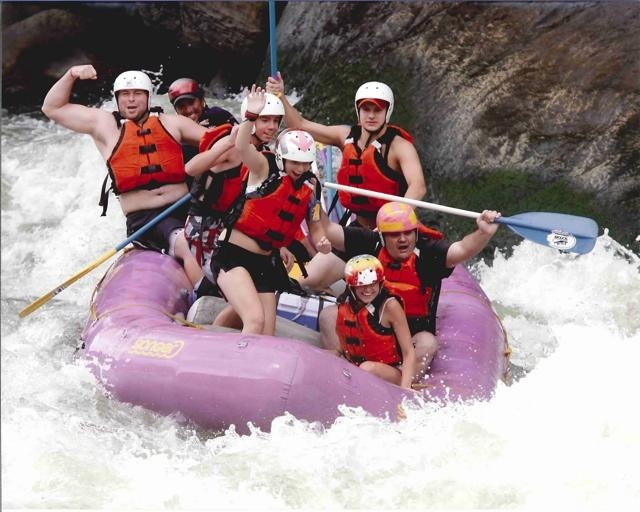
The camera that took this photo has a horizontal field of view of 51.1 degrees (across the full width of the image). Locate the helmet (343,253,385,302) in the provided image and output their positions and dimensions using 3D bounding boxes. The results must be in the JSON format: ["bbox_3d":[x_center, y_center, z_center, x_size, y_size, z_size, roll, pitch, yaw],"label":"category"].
[{"bbox_3d":[0.291,0.119,4.371,0.264,0.242,0.327,-4,20,13],"label":"helmet"}]

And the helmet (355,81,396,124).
[{"bbox_3d":[0.425,-1.270,5.286,0.289,0.311,0.406,2,47,12],"label":"helmet"}]

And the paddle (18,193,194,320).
[{"bbox_3d":[-2.090,0.036,6.397,2.139,0.255,0.120,-37,-3,-8],"label":"paddle"}]

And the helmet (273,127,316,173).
[{"bbox_3d":[-0.160,-0.693,4.383,0.257,0.285,0.333,-7,23,-29],"label":"helmet"}]

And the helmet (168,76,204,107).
[{"bbox_3d":[-1.160,-1.403,5.807,0.214,0.286,0.228,-15,56,-7],"label":"helmet"}]

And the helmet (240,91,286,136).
[{"bbox_3d":[-0.350,-0.944,4.402,0.296,0.242,0.218,-12,0,43],"label":"helmet"}]

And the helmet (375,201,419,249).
[{"bbox_3d":[0.517,-0.237,4.517,0.276,0.274,0.346,-8,13,-10],"label":"helmet"}]

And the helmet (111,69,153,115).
[{"bbox_3d":[-1.523,-1.342,5.464,0.249,0.260,0.319,-2,-6,-3],"label":"helmet"}]
